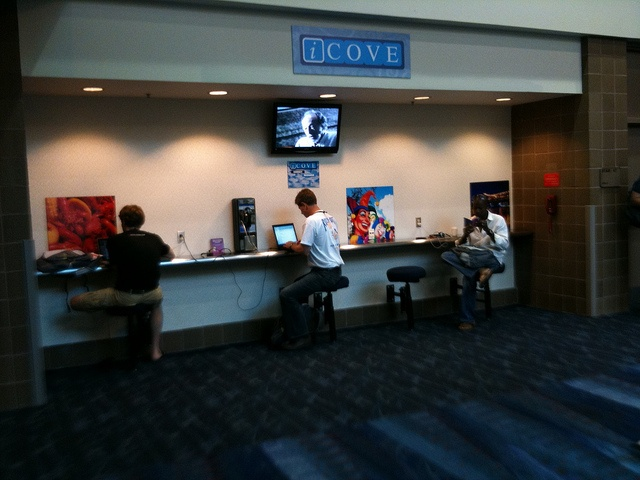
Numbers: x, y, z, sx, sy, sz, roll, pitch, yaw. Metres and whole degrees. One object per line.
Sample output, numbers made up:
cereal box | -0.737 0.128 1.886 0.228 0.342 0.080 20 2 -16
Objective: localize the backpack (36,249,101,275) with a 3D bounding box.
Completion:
backpack | -2.686 0.217 5.111 0.608 0.214 0.244 -2 10 -1

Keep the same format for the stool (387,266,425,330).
stool | 1.108 0.719 6.384 0.473 0.786 0.555 -2 10 -4

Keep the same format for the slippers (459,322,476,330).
slippers | 1.881 1.089 6.172 0.072 0.095 0.221 -6 -13 30

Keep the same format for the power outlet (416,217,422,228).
power outlet | 1.384 -0.254 6.720 0.132 0.147 0.070 -2 5 -32

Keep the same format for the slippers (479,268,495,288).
slippers | 2.181 0.489 6.297 0.206 0.251 0.088 -5 10 -20

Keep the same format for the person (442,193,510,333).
person | 2.053 0.251 6.364 0.772 1.656 0.485 -6 10 -24

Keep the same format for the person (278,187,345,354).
person | -0.100 0.323 5.752 0.778 1.831 0.367 -3 9 -8

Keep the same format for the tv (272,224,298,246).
tv | -0.433 -0.082 6.048 0.289 0.256 0.241 0 1 -21
